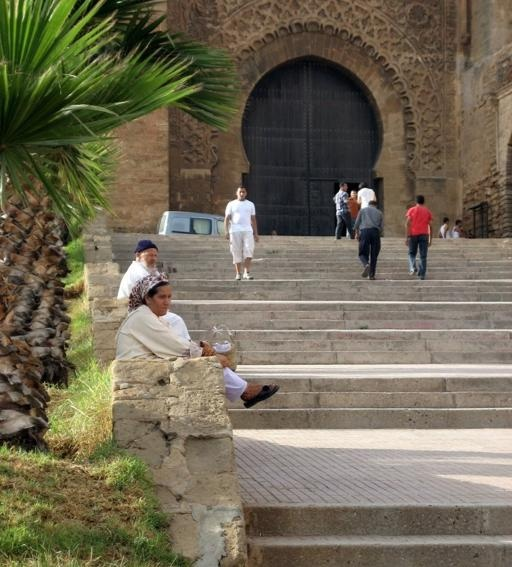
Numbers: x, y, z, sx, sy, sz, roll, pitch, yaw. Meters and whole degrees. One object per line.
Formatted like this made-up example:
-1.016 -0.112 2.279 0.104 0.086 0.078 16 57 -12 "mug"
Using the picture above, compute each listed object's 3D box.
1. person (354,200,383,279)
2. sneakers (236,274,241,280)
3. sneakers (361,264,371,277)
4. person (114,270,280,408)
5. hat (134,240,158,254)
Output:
1.542 -0.631 15.751 0.366 1.107 0.955 0 2 5 "person"
-0.230 -0.099 15.004 0.098 0.071 0.124 1 -7 -1 "sneakers"
1.492 -0.182 15.519 0.078 0.177 0.068 10 37 -6 "sneakers"
-0.539 0.401 8.448 0.756 0.969 0.960 1 2 17 "person"
-0.961 -0.341 9.926 0.119 0.096 0.157 -3 -13 -34 "hat"
